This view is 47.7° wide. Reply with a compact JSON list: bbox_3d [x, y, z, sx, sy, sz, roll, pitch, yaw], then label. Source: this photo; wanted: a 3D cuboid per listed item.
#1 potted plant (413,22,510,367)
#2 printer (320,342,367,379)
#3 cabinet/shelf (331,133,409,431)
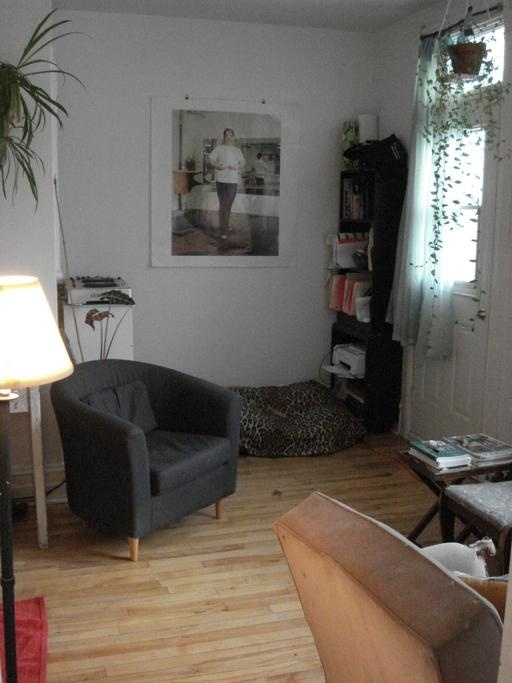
[{"bbox_3d":[1.147,-0.849,3.382,0.304,1.958,0.691,1,8,-2],"label":"potted plant"},{"bbox_3d":[0.701,0.132,4.430,0.239,0.133,0.294,-1,11,-20],"label":"printer"},{"bbox_3d":[0.855,-0.417,4.332,0.378,2.163,0.792,0,8,-8],"label":"cabinet/shelf"}]
